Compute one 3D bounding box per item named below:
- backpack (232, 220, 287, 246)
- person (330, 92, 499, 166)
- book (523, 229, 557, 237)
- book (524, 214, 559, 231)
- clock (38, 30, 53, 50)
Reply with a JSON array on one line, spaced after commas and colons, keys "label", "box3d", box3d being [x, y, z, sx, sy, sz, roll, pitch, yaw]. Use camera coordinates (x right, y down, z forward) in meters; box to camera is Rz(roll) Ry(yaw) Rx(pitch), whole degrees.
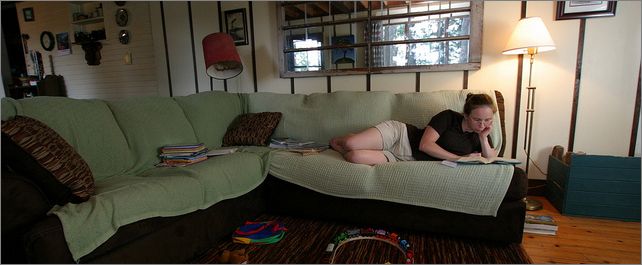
[{"label": "backpack", "box3d": [-0.998, 1.592, 5.762, 0.637, 0.144, 0.406, 0, 7, 6]}, {"label": "person", "box3d": [1.531, -0.049, 6.095, 2.545, 0.725, 1.242, 1, 2, 21]}, {"label": "book", "box3d": [3.526, 1.602, 5.821, 0.234, 0.041, 0.236, -2, -5, 44]}, {"label": "book", "box3d": [3.535, 1.462, 5.864, 0.402, 0.068, 0.344, 0, 4, 16]}, {"label": "clock", "box3d": [-6.883, -2.300, 9.093, 0.599, 0.416, 0.127, 3, 9, 22]}]
